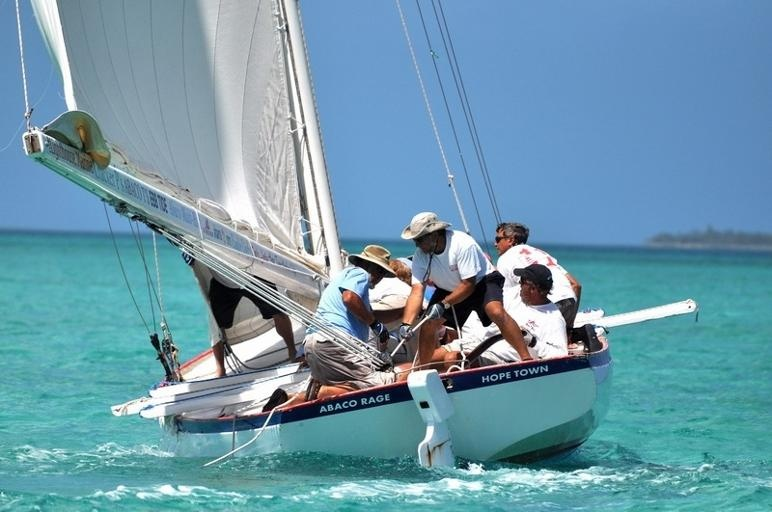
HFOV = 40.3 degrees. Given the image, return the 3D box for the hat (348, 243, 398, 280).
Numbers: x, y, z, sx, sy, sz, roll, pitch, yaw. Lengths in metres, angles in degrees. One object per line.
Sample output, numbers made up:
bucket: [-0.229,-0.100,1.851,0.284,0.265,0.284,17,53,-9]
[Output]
hat: [-0.060,0.017,12.937,0.368,0.186,0.477,18,-22,23]

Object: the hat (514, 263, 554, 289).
hat: [1.803,0.228,12.765,0.367,0.202,0.267,18,12,11]

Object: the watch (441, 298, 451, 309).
watch: [0.702,0.569,12.517,0.078,0.110,0.064,-3,-5,8]

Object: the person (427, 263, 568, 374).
person: [1.193,0.845,12.867,1.653,1.067,1.014,-4,-5,-19]

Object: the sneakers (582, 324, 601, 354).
sneakers: [2.481,0.999,12.718,0.257,0.294,0.424,-7,6,3]

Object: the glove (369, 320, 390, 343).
glove: [-0.057,0.892,12.495,0.125,0.302,0.160,-23,-3,-19]

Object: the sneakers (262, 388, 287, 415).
sneakers: [-1.294,1.768,12.618,0.138,0.322,0.189,41,-9,-27]

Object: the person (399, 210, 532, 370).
person: [0.927,0.562,12.595,1.130,1.636,1.358,-10,-14,-33]

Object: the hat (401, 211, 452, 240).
hat: [0.472,-0.378,12.557,0.529,0.332,0.625,-7,6,-2]

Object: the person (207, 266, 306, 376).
person: [-1.678,0.846,13.759,0.875,0.393,1.742,-29,-33,6]
